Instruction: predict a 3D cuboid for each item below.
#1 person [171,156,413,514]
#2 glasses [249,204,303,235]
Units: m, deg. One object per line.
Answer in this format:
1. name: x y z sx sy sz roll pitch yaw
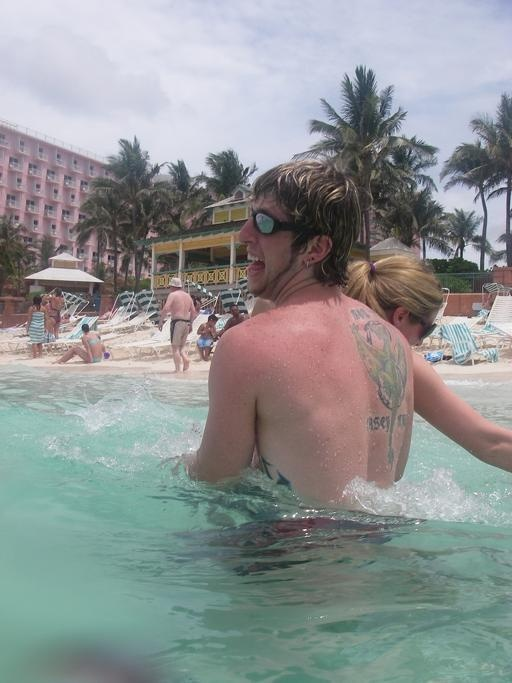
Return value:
1. person: 0.175 -0.036 1.729 0.669 0.970 0.357 -3 2 -18
2. glasses: 0.046 -0.336 1.704 0.103 0.032 0.083 7 19 -32
